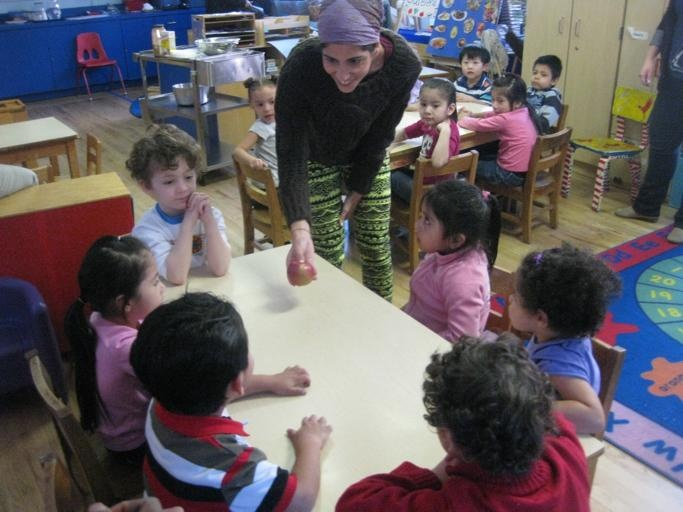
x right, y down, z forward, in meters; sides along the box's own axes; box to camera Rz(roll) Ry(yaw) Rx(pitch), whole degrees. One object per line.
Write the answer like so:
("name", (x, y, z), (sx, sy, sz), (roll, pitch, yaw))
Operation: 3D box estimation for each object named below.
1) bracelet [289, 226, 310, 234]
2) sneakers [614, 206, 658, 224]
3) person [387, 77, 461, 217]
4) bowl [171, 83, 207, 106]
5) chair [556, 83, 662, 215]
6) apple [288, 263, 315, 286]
("bracelet", (-0.150, -0.094, 1.935), (0.061, 0.032, 0.059), (-3, 24, -7))
("sneakers", (2.232, -0.309, 4.141), (0.309, 0.135, 0.114), (16, 31, 31))
("person", (0.521, -0.699, 3.360), (0.484, 0.716, 0.497), (-22, 36, -32))
("bowl", (-1.363, -1.410, 4.835), (0.254, 0.126, 0.247), (1, 26, -1))
("chair", (2.191, -0.852, 4.388), (0.727, 1.159, 0.608), (-20, 35, -20))
("apple", (-0.137, 0.060, 1.826), (0.079, 0.075, 0.076), (-2, 3, 4))
